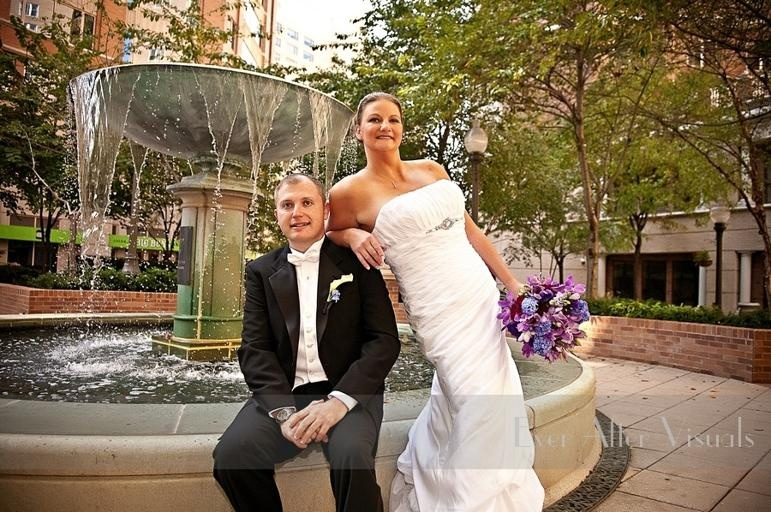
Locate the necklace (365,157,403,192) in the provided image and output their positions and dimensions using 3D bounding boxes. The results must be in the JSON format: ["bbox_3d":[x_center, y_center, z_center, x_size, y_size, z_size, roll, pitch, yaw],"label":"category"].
[{"bbox_3d":[0.004,-0.867,5.793,0.283,0.299,0.441,6,11,2],"label":"necklace"}]

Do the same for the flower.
[{"bbox_3d":[1.701,0.576,5.656,0.813,0.819,0.889,-5,1,-8],"label":"flower"}]
